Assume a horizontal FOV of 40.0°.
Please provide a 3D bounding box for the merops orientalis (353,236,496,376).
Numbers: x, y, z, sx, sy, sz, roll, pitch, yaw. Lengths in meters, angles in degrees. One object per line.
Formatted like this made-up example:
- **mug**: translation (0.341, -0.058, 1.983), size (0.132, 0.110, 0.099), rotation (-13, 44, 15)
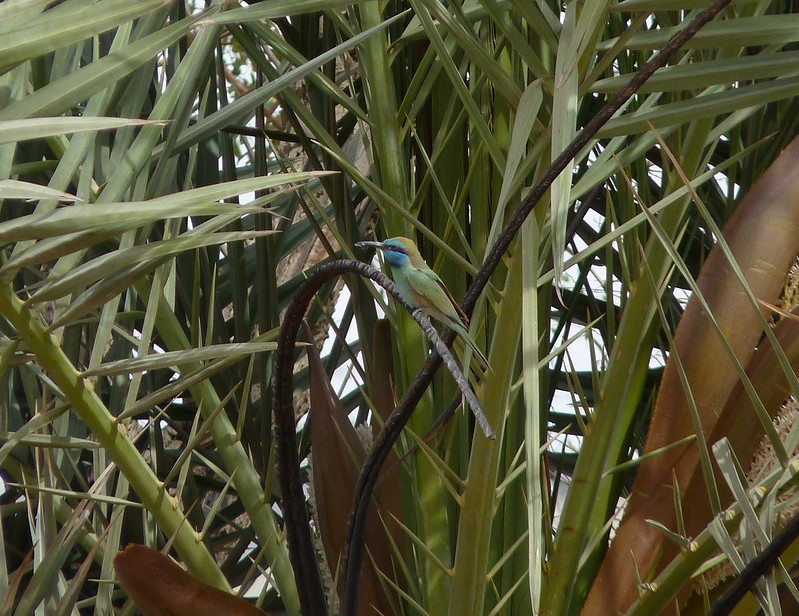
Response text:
- **merops orientalis**: translation (0.044, -0.021, 1.628), size (0.196, 0.132, 0.069), rotation (17, -16, -10)
